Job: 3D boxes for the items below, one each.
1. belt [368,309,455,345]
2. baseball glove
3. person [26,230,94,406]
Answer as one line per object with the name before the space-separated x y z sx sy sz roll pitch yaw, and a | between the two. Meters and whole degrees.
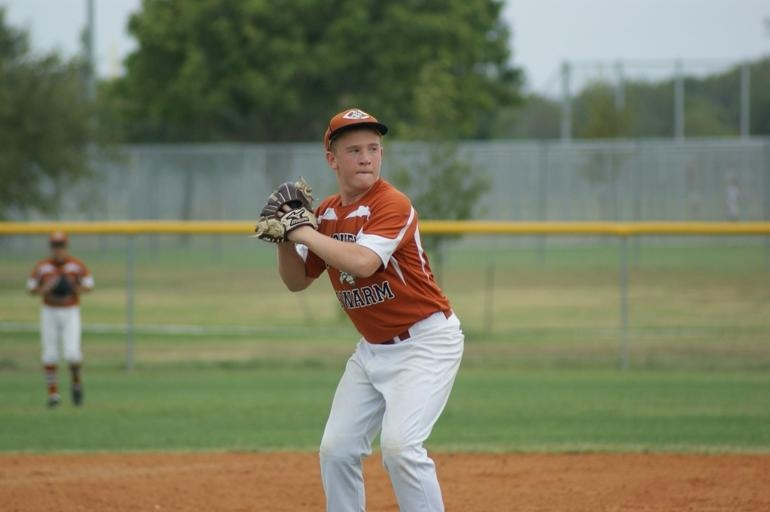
belt | 0.264 0.562 12.952 0.402 0.096 0.318 -18 -7 -13
baseball glove | -0.758 -0.322 12.912 0.304 0.646 0.602 19 22 28
person | -2.783 0.528 14.169 0.573 1.231 0.203 -2 1 -12
